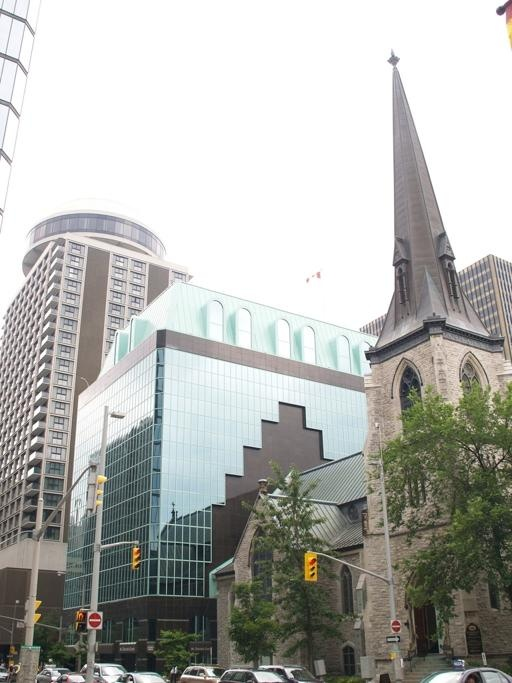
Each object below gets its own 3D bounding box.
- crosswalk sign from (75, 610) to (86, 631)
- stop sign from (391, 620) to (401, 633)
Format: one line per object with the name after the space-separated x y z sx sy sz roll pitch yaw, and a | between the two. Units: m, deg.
-5.210 8.364 19.197 0.285 0.543 1.286 6 -28 -15 | crosswalk sign
5.219 10.622 23.835 0.295 0.536 0.825 -6 -27 7 | stop sign
